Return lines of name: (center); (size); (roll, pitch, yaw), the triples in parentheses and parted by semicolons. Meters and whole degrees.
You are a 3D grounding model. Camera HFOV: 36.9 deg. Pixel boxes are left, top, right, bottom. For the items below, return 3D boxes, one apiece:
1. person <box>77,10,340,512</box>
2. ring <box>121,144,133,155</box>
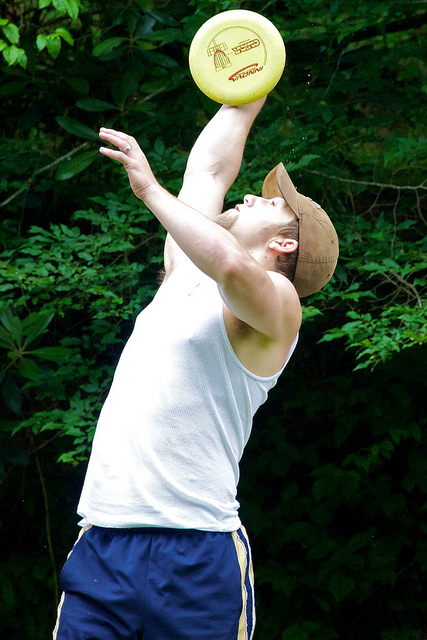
person: (0.000, -0.172, 1.493); (0.546, 1.151, 0.672); (0, 13, 14)
ring: (-0.173, -0.344, 1.292); (0.018, 0.007, 0.017); (-37, -2, -1)
